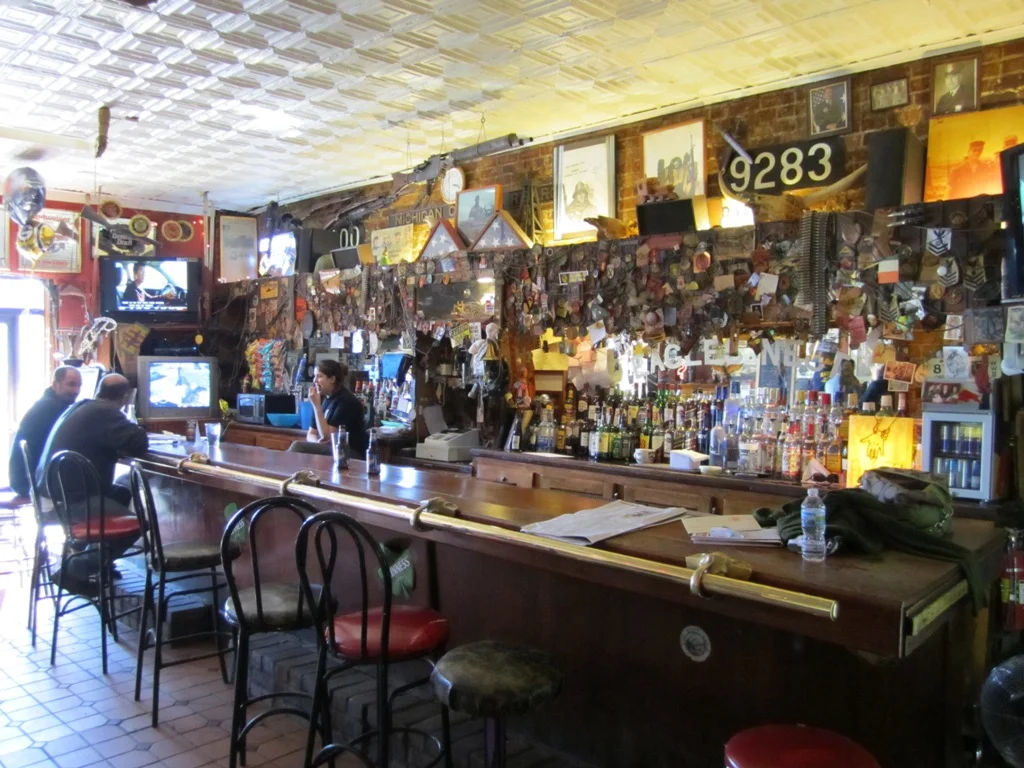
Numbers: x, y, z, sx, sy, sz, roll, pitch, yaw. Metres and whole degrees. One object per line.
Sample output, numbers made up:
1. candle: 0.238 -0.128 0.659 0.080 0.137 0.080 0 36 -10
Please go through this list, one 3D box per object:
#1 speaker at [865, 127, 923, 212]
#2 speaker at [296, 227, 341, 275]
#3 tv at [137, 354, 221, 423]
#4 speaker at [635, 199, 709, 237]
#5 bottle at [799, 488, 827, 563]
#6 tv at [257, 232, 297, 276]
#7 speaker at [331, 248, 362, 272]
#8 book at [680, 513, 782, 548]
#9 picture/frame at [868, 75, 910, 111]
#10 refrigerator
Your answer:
1. speaker: 2.643 -1.479 5.779 0.321 0.542 0.601 1 5 31
2. speaker: -2.228 -1.560 9.502 0.484 0.430 0.736 -1 15 5
3. tv: -3.955 0.052 9.833 0.744 0.734 0.408 0 -1 -32
4. speaker: 1.152 -1.250 6.269 0.495 0.297 0.348 -2 -5 14
5. bottle: 1.210 0.534 3.351 0.098 0.293 0.255 0 4 21
6. tv: -3.003 -1.677 10.756 0.708 0.739 0.096 3 1 36
7. speaker: -1.729 -1.299 8.699 0.119 0.226 0.491 -5 5 -42
8. book: 0.952 0.612 3.683 0.414 0.063 0.432 -1 4 14
9. picture/frame: 2.816 -2.165 6.217 0.279 0.253 0.030 2 5 44
10. refrigerator: 2.587 0.408 4.723 0.438 0.706 0.351 -3 -7 42
